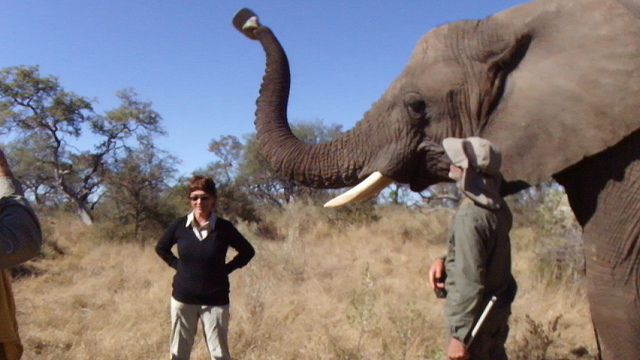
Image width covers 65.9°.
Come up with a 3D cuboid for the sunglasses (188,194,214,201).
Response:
[{"bbox_3d":[-1.717,0.241,7.022,0.329,0.115,0.080,1,-20,0],"label":"sunglasses"}]

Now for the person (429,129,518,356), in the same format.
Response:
[{"bbox_3d":[1.946,0.833,6.191,0.856,2.569,1.144,-6,-21,20],"label":"person"}]
